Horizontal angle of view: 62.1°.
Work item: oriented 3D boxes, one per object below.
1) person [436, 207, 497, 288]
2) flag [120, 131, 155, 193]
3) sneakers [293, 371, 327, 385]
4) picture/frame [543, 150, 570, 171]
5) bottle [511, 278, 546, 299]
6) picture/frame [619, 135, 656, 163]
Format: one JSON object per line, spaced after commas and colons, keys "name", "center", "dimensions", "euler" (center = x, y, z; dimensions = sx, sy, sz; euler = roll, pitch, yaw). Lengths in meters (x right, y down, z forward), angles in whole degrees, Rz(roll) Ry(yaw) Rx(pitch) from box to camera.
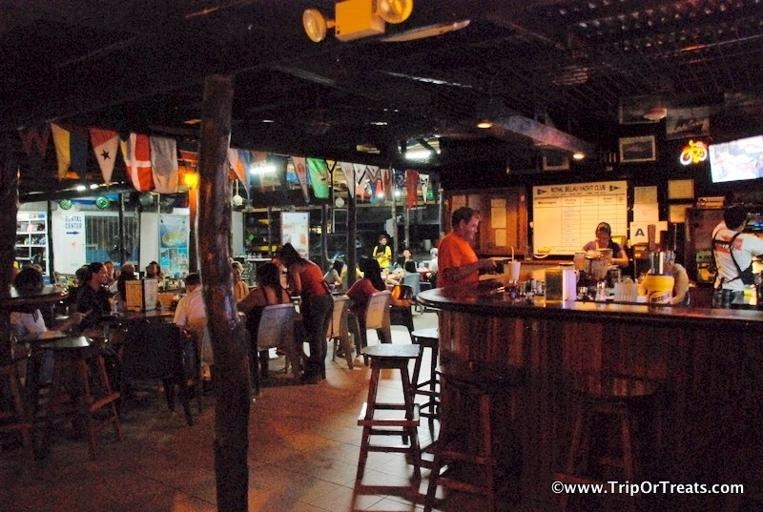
{"name": "person", "center": [0.891, -0.093, 6.832], "dimensions": [0.565, 0.847, 0.574], "euler": [0, 3, -3]}
{"name": "flag", "center": [-3.323, -1.266, 8.606], "dimensions": [0.344, 0.724, 0.576], "euler": [0, 3, -4]}
{"name": "sneakers", "center": [-0.949, 1.614, 8.438], "dimensions": [0.445, 0.189, 0.158], "euler": [3, -5, 3]}
{"name": "picture/frame", "center": [3.029, -1.623, 11.015], "dimensions": [0.459, 0.266, 0.516], "euler": [1, 4, 15]}
{"name": "bottle", "center": [1.401, 0.324, 6.096], "dimensions": [0.253, 0.090, 0.200], "euler": [-3, 4, -21]}
{"name": "picture/frame", "center": [4.241, -1.765, 10.437], "dimensions": [0.477, 0.395, 0.072], "euler": [-2, 2, 36]}
